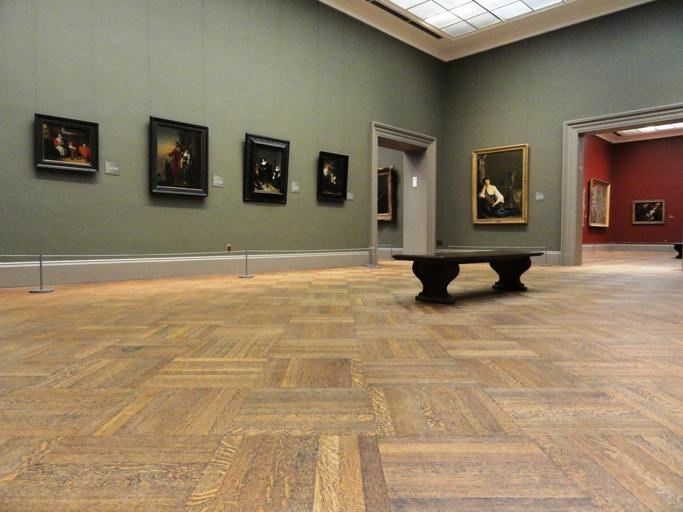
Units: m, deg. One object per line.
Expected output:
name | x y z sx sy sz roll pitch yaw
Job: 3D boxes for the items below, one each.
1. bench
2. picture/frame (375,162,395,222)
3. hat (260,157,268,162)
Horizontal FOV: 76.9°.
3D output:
bench | 1.860 0.279 6.244 0.967 0.706 2.678 5 8 42
picture/frame | 1.586 -2.152 15.231 0.704 1.940 0.236 4 7 39
hat | -1.756 -2.187 9.858 0.161 0.155 0.087 -1 10 -18
